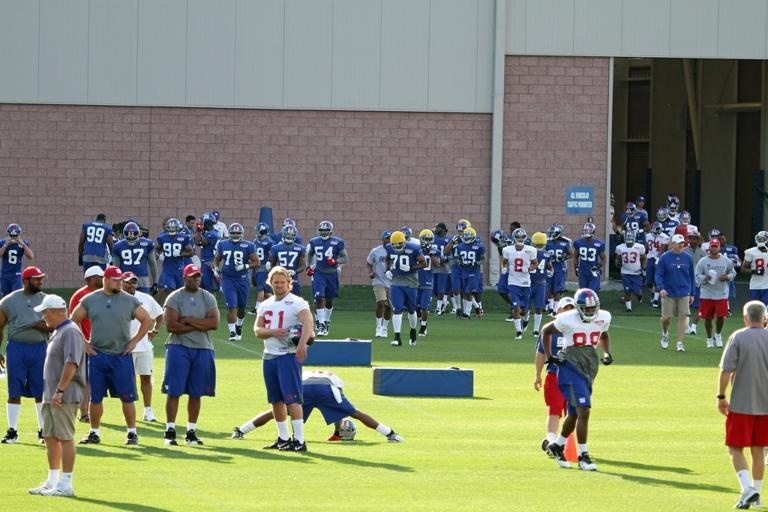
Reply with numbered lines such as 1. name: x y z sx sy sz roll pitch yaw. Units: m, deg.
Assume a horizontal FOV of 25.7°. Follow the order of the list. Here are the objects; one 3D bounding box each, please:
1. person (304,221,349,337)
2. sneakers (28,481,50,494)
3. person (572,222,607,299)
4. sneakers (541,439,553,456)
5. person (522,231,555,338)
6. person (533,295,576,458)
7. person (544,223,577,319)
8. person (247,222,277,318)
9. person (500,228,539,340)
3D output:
1. person: -1.742 0.639 49.033 1.311 3.177 1.017 0 -3 0
2. sneakers: -7.543 5.057 36.559 0.533 0.234 0.199 -2 -6 29
3. person: 6.453 0.413 53.726 0.986 2.852 0.848 5 8 28
4. sneakers: 3.705 4.346 38.439 0.190 0.422 0.155 -16 19 -3
5. person: 4.711 0.792 49.953 1.038 2.861 0.906 3 -2 -12
6. person: 3.858 2.710 38.679 0.995 3.466 1.089 1 -1 2
7. person: 5.330 0.460 52.239 0.932 2.743 1.089 4 -3 -13
8. person: -3.674 0.398 49.321 0.852 2.666 0.795 1 -2 5
9. person: 3.967 0.771 49.415 1.080 3.121 1.059 1 0 0
